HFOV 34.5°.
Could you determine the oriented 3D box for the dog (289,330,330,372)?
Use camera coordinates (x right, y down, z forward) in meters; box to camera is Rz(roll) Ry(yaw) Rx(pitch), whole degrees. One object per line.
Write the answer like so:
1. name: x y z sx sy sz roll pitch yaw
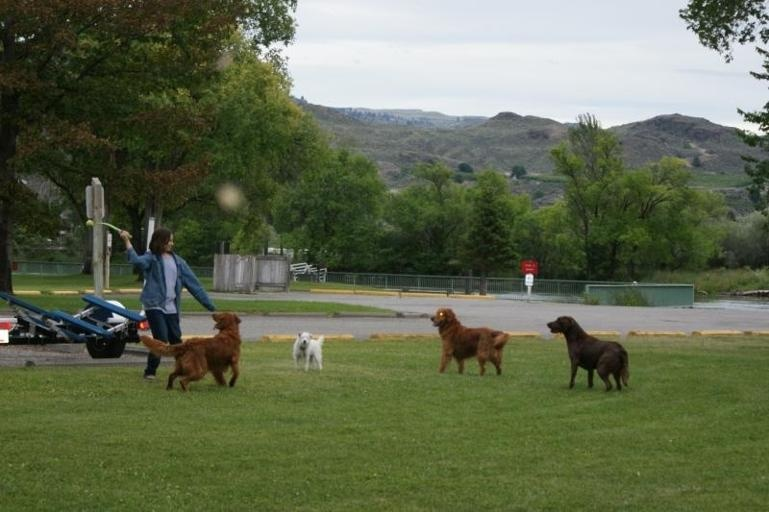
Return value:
1. dog: -2.424 3.035 39.324 0.915 1.185 0.770 1 -4 -21
